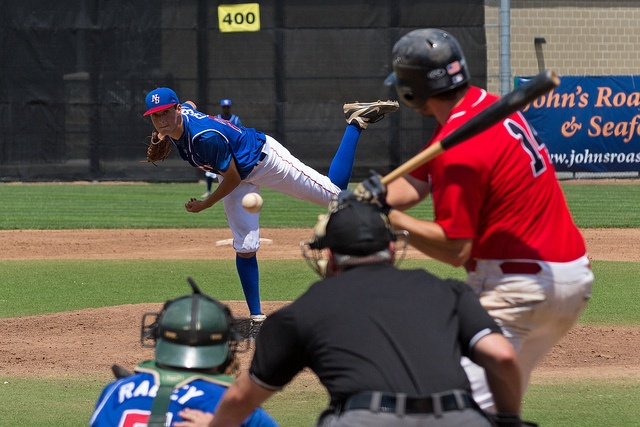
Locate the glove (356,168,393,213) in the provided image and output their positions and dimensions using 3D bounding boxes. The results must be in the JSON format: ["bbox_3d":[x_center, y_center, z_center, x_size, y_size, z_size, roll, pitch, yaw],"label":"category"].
[{"bbox_3d":[0.838,-0.346,18.143,0.470,0.495,0.625,5,15,1],"label":"glove"}]

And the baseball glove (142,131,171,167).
[{"bbox_3d":[-2.967,-1.237,21.502,0.490,0.626,0.306,10,-22,5],"label":"baseball glove"}]
